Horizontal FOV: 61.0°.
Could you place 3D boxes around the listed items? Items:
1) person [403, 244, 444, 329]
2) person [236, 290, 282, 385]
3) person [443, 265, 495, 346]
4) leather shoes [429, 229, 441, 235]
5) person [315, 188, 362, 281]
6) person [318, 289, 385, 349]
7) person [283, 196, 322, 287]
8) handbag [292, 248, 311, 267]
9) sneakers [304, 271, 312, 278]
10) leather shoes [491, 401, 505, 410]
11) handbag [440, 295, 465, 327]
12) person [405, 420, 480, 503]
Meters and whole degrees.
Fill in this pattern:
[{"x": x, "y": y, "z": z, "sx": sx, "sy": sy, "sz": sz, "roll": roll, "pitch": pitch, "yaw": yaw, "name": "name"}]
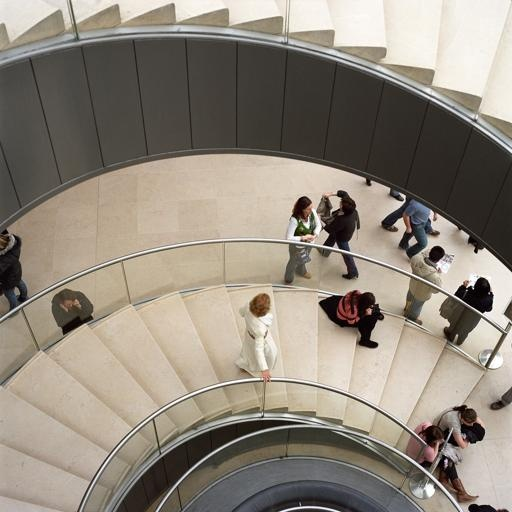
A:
[{"x": 2.969, "y": 0.461, "z": 7.751, "sx": 0.679, "sy": 1.227, "sz": 0.903, "roll": -2, "pitch": -22, "yaw": 18, "name": "person"}, {"x": 0.032, "y": 1.127, "z": 5.930, "sx": 0.470, "sy": 1.201, "sz": 1.672, "roll": 0, "pitch": -40, "yaw": -7, "name": "person"}, {"x": 3.730, "y": 0.912, "z": 7.731, "sx": 0.682, "sy": 0.554, "sz": 1.818, "roll": 11, "pitch": -39, "yaw": 12, "name": "person"}, {"x": 4.625, "y": -0.633, "z": 11.292, "sx": 0.217, "sy": 0.104, "sz": 0.104, "roll": 7, "pitch": -10, "yaw": 8, "name": "leather shoes"}, {"x": 1.606, "y": -0.372, "z": 8.460, "sx": 0.885, "sy": 0.666, "sz": 1.530, "roll": 33, "pitch": -16, "yaw": 14, "name": "person"}, {"x": 1.624, "y": 0.952, "z": 7.380, "sx": 0.837, "sy": 0.940, "sz": 1.131, "roll": 7, "pitch": -15, "yaw": 14, "name": "person"}, {"x": 0.816, "y": -0.402, "z": 7.488, "sx": 0.580, "sy": 1.303, "sz": 1.434, "roll": 3, "pitch": -22, "yaw": 4, "name": "person"}, {"x": 0.791, "y": -0.016, "z": 7.492, "sx": 0.232, "sy": 0.235, "sz": 0.399, "roll": 1, "pitch": -35, "yaw": 3, "name": "handbag"}, {"x": 0.934, "y": 0.329, "z": 7.780, "sx": 0.136, "sy": 0.081, "sz": 0.065, "roll": 5, "pitch": -13, "yaw": 33, "name": "sneakers"}, {"x": 4.461, "y": 2.774, "z": 8.101, "sx": 0.254, "sy": 0.150, "sz": 0.119, "roll": -14, "pitch": -22, "yaw": 1, "name": "leather shoes"}, {"x": 3.396, "y": 0.942, "z": 7.610, "sx": 0.378, "sy": 0.119, "sz": 0.405, "roll": 33, "pitch": -58, "yaw": 4, "name": "handbag"}, {"x": 2.959, "y": 3.119, "z": 6.876, "sx": 0.989, "sy": 0.643, "sz": 1.260, "roll": 16, "pitch": -43, "yaw": 43, "name": "person"}]
